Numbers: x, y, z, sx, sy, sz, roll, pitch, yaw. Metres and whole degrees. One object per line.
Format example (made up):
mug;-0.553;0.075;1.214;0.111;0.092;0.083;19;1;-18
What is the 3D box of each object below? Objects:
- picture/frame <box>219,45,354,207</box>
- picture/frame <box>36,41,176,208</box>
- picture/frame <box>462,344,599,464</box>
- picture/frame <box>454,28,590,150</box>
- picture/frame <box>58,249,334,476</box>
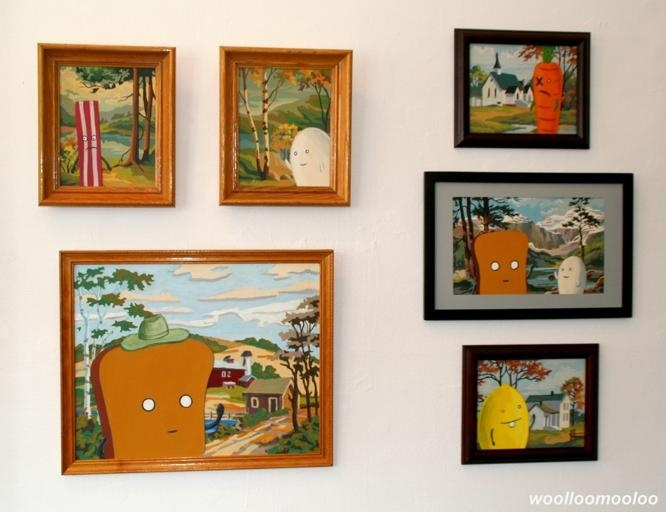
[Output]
picture/frame;-0.152;-0.385;2.844;0.402;0.555;0.042;1;-1;-6
picture/frame;-0.662;-0.384;2.819;0.418;0.558;0.040;0;-1;-6
picture/frame;0.554;0.436;2.897;0.309;0.303;0.028;0;-3;-4
picture/frame;0.530;-0.494;2.889;0.314;0.303;0.027;0;3;-4
picture/frame;-0.431;0.300;2.841;0.575;0.499;0.029;0;-2;-6
